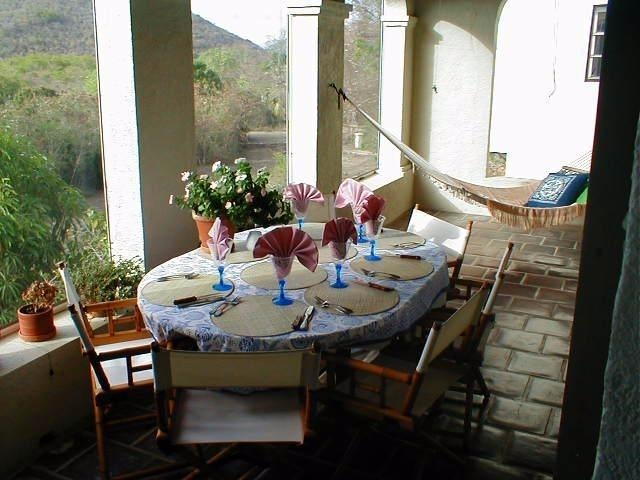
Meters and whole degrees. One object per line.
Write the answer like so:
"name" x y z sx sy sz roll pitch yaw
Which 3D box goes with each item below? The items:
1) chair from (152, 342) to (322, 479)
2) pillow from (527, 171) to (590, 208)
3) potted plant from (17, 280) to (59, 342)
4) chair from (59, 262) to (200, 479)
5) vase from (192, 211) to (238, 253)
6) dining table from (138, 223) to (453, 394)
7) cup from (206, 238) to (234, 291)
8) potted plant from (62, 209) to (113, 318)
"chair" -0.289 0.525 1.772 0.640 0.495 0.469 1 26 -6
"pillow" 2.503 -0.561 5.141 0.479 0.258 0.861 14 -11 21
"potted plant" -1.391 0.343 2.333 0.203 0.268 0.171 -4 14 -24
"chair" -0.815 0.592 2.011 0.558 0.851 0.536 -6 30 -17
"vase" -0.583 -0.068 2.553 0.220 0.176 0.221 5 14 15
"dining table" -0.213 0.263 1.792 0.742 0.177 0.589 4 23 13
"cup" -0.442 0.114 2.099 0.118 0.241 0.120 1 29 -1
"potted plant" -1.275 0.162 2.828 0.308 0.584 0.421 -15 15 -22
